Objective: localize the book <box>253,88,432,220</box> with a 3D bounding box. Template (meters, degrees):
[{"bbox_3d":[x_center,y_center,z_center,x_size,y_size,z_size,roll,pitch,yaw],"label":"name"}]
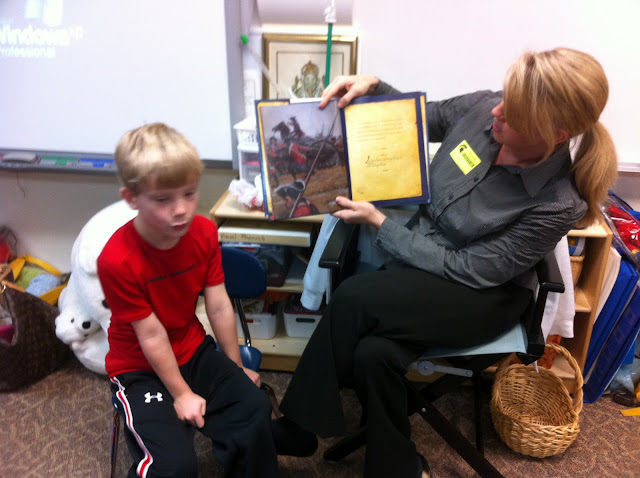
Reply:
[{"bbox_3d":[0.086,-0.324,1.842,0.613,0.464,0.063,-3,-9,1],"label":"book"}]

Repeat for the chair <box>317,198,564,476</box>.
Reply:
[{"bbox_3d":[0.427,0.403,2.154,0.872,1.139,0.976,-1,19,1],"label":"chair"}]

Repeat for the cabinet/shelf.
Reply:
[{"bbox_3d":[0.273,0.613,3.215,2.292,0.505,1.574,11,-27,-41],"label":"cabinet/shelf"}]

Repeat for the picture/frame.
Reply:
[{"bbox_3d":[-0.039,-0.803,2.247,0.463,0.349,0.025,1,28,1],"label":"picture/frame"}]

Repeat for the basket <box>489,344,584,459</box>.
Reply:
[{"bbox_3d":[0.900,0.614,2.066,0.320,0.466,0.439,0,15,2],"label":"basket"}]
